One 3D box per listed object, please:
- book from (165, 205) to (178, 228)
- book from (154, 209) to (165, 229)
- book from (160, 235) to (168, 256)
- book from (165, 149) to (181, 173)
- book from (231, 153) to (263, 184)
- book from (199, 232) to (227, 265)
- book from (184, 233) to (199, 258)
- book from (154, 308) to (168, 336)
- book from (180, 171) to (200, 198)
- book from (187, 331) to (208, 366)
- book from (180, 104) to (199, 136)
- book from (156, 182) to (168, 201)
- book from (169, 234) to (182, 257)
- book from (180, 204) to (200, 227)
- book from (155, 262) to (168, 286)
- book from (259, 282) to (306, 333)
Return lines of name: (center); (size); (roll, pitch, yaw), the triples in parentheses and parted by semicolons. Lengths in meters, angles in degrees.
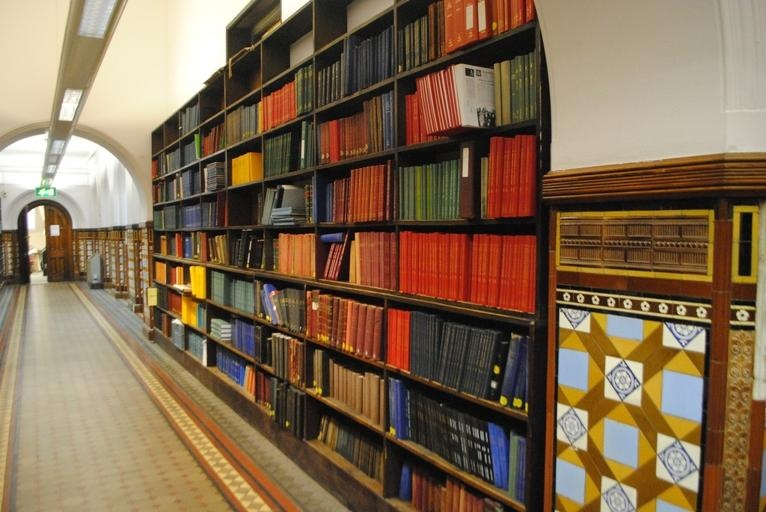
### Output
book: (-3.153, -0.587, 8.722); (0.098, 0.318, 0.309); (1, -3, -31)
book: (-3.619, -0.595, 9.460); (0.155, 0.295, 0.299); (0, 0, -27)
book: (-3.459, -0.170, 9.235); (0.152, 0.309, 0.297); (0, 0, -12)
book: (-3.140, -1.423, 8.746); (0.220, 0.429, 0.405); (1, 1, -29)
book: (-1.446, -0.932, 6.248); (0.185, 0.284, 0.360); (-1, 0, -39)
book: (-2.013, -0.080, 6.952); (0.121, 0.447, 0.306); (-3, 13, -45)
book: (-2.561, -0.138, 7.821); (0.213, 0.324, 0.309); (1, 1, 18)
book: (-3.518, 1.047, 9.298); (0.084, 0.401, 0.365); (-13, 18, -36)
book: (-2.579, -0.961, 7.839); (0.201, 0.390, 0.368); (0, 2, -30)
book: (-2.482, 1.207, 7.744); (0.083, 0.396, 0.366); (-7, 13, -33)
book: (-2.627, -1.851, 7.938); (0.138, 0.428, 0.421); (-4, 43, -37)
book: (-3.555, -1.039, 9.396); (0.173, 0.355, 0.337); (0, -1, -9)
book: (-3.056, -0.152, 8.620); (0.161, 0.328, 0.318); (-1, 1, -7)
book: (-2.620, -0.550, 7.945); (0.161, 0.312, 0.298); (0, 0, -32)
book: (-3.489, 0.275, 9.206); (0.185, 0.272, 0.356); (-1, 3, -30)
book: (-0.943, 0.482, 5.527); (0.380, 0.152, 0.417); (-5, 9, -22)
